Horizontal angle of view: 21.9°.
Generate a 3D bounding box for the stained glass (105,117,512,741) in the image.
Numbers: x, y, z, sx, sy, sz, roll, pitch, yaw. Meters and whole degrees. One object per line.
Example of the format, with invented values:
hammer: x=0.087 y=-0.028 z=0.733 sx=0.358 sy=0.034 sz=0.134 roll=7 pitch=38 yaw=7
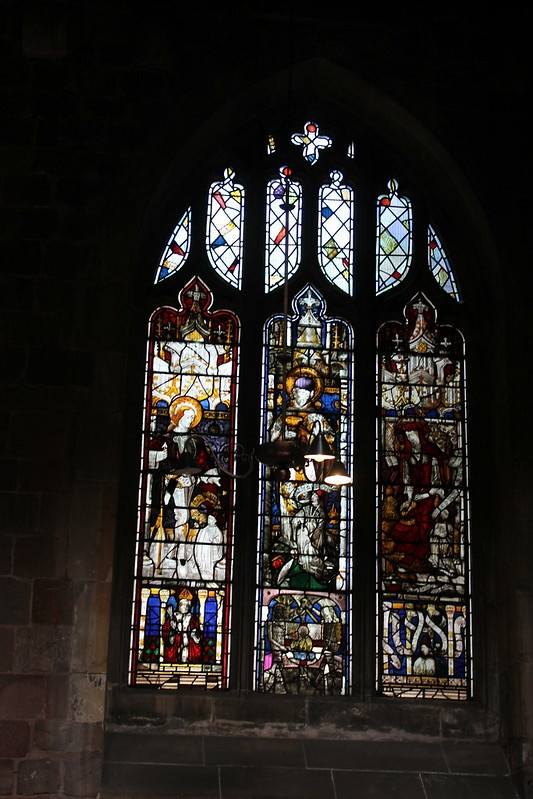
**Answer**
stained glass: x=0.252 y=-0.013 z=8.307 sx=2.219 sy=3.862 sz=0.660 roll=3 pitch=-13 yaw=-8
